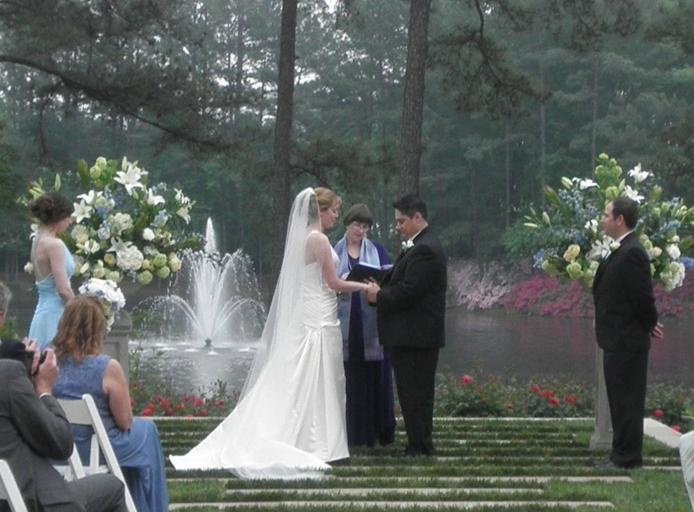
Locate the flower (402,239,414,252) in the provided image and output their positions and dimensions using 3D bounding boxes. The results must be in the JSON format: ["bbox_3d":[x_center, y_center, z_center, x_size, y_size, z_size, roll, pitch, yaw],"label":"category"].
[{"bbox_3d":[1.476,-0.290,41.096,0.300,0.127,0.281,18,-29,-24],"label":"flower"}]
